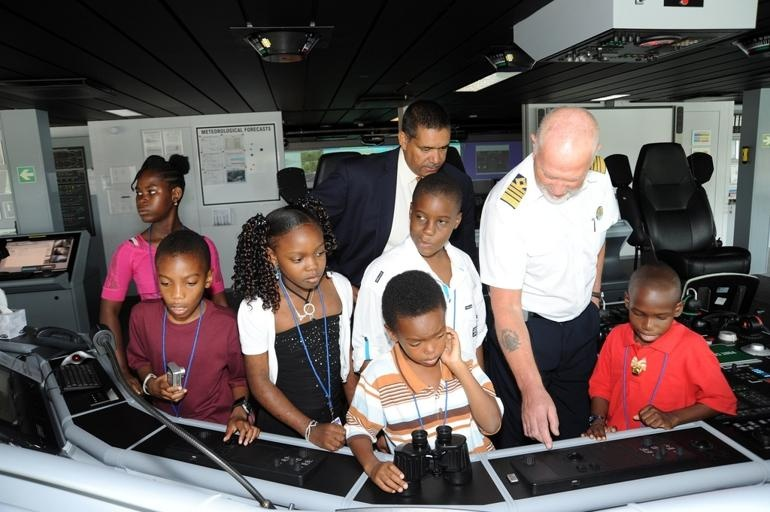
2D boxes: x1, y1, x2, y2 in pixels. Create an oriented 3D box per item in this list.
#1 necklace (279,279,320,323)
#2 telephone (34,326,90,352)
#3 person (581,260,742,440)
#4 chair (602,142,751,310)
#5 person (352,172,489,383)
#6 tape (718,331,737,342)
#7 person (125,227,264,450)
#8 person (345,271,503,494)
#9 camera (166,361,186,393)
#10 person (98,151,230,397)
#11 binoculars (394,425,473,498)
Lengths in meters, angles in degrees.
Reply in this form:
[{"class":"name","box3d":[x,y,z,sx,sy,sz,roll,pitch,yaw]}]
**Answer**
[{"class":"necklace","box3d":[-0.380,0.195,2.091,0.154,0.196,0.048,-21,-1,-18]},{"class":"telephone","box3d":[-1.511,0.388,2.240,0.189,0.069,0.141,10,-4,12]},{"class":"person","box3d":[1.090,0.433,2.107,0.656,0.819,0.468,2,-11,-40]},{"class":"chair","box3d":[2.955,-0.370,4.666,1.051,1.262,1.145,-7,18,-4]},{"class":"person","box3d":[0.168,0.039,2.258,0.577,0.962,0.565,4,-28,-6]},{"class":"tape","box3d":[1.807,0.411,2.521,0.061,0.021,0.063,1,5,36]},{"class":"person","box3d":[-0.888,0.401,2.098,0.494,1.046,0.520,-6,13,-12]},{"class":"person","box3d":[0.126,0.463,1.777,0.610,0.747,0.443,-15,22,-15]},{"class":"camera","box3d":[-0.824,0.477,1.875,0.074,0.106,0.181,1,-3,-22]},{"class":"person","box3d":[-0.849,0.445,2.204,0.714,1.033,0.527,8,16,15]},{"class":"binoculars","box3d":[0.143,0.604,1.435,0.233,0.165,0.096,-3,9,-5]}]
